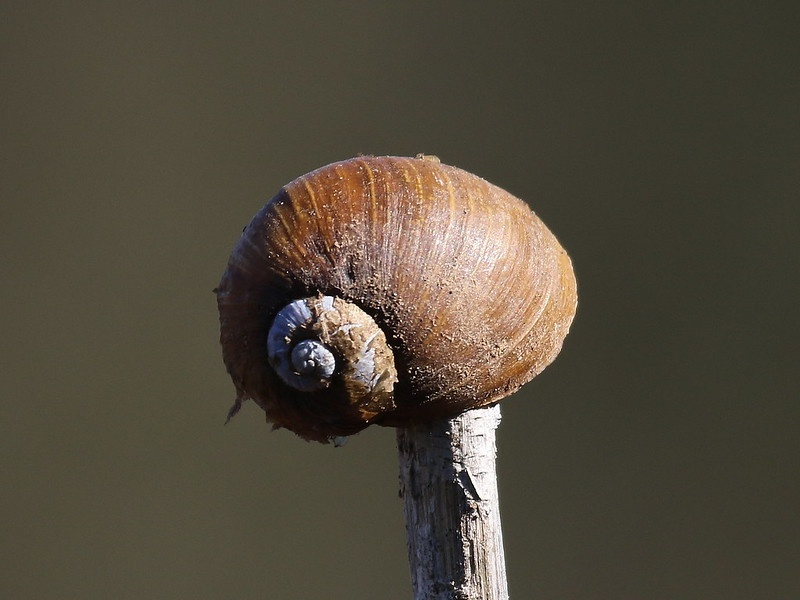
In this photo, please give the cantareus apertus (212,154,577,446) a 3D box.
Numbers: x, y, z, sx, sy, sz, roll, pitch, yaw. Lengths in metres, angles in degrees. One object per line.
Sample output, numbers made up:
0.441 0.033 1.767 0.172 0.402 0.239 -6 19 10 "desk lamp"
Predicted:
-0.001 -0.020 4.572 0.836 0.174 0.623 -11 84 -2 "cantareus apertus"
